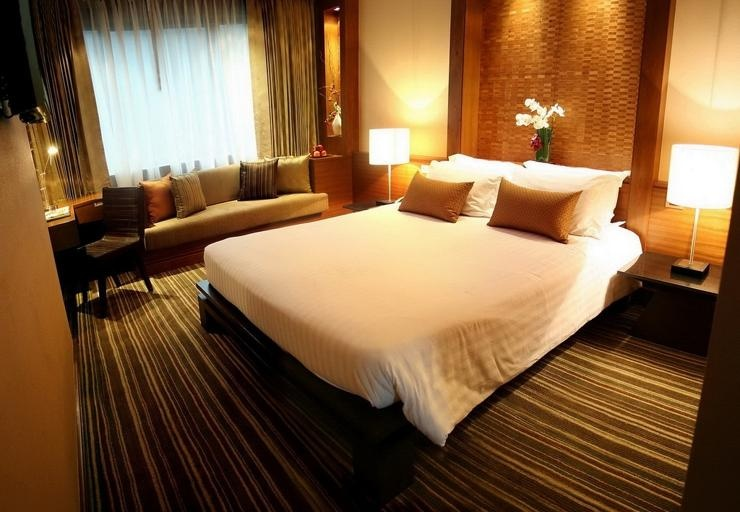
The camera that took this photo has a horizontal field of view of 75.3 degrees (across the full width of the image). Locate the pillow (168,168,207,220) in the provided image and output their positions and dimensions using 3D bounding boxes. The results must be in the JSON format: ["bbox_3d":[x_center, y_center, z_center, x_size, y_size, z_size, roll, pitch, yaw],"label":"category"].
[{"bbox_3d":[-2.025,-0.683,5.348,0.160,0.464,0.454,2,19,17],"label":"pillow"}]

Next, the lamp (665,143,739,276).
[{"bbox_3d":[2.427,-0.342,3.563,0.403,0.938,0.463,8,23,32],"label":"lamp"}]

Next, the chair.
[{"bbox_3d":[-2.400,-0.086,4.383,0.533,1.037,0.637,3,17,7],"label":"chair"}]

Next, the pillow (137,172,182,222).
[{"bbox_3d":[-2.225,-0.585,5.222,0.520,0.488,0.240,0,30,8],"label":"pillow"}]

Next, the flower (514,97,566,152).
[{"bbox_3d":[1.558,-1.274,4.599,0.460,0.634,0.518,4,25,5],"label":"flower"}]

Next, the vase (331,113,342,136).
[{"bbox_3d":[-0.446,-1.755,6.447,0.085,0.280,0.279,-16,22,-30],"label":"vase"}]

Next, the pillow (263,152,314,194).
[{"bbox_3d":[-1.015,-1.027,6.165,0.467,0.490,0.187,-1,12,7],"label":"pillow"}]

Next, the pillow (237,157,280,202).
[{"bbox_3d":[-1.394,-0.961,5.882,0.460,0.550,0.198,-4,33,-20],"label":"pillow"}]

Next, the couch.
[{"bbox_3d":[-1.757,-0.558,5.613,0.650,0.858,2.132,22,29,35],"label":"couch"}]

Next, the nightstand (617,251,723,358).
[{"bbox_3d":[2.177,0.356,3.464,0.484,0.533,0.494,15,31,38],"label":"nightstand"}]

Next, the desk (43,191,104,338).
[{"bbox_3d":[-2.494,0.102,4.016,0.520,0.694,0.983,-13,27,-22],"label":"desk"}]
